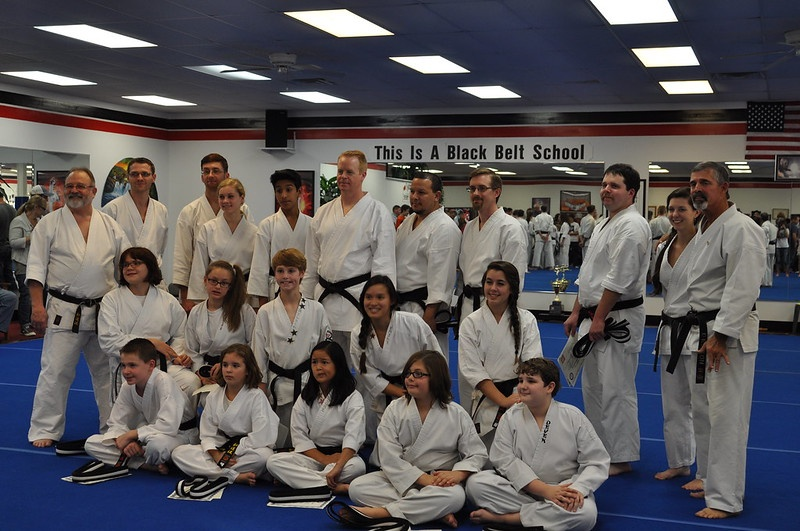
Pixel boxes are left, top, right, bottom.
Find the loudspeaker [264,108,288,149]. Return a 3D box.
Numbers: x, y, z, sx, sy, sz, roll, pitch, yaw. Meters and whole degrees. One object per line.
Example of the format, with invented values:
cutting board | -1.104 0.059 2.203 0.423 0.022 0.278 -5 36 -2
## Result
loudspeaker | -2.899 -3.177 14.018 0.646 0.909 0.634 -2 14 12
